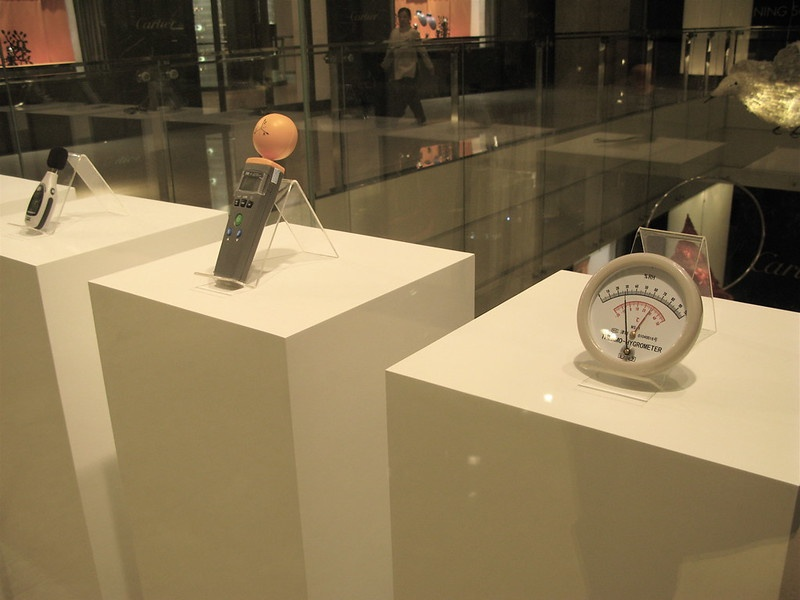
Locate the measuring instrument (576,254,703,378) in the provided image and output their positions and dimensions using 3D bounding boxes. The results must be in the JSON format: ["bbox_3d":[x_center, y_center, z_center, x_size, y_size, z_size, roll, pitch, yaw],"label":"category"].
[{"bbox_3d":[0.506,0.039,1.298,0.236,0.060,0.281,9,67,30],"label":"measuring instrument"}]

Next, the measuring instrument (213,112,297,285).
[{"bbox_3d":[-0.482,-0.346,2.028,0.259,0.495,0.390,-1,21,1],"label":"measuring instrument"}]
